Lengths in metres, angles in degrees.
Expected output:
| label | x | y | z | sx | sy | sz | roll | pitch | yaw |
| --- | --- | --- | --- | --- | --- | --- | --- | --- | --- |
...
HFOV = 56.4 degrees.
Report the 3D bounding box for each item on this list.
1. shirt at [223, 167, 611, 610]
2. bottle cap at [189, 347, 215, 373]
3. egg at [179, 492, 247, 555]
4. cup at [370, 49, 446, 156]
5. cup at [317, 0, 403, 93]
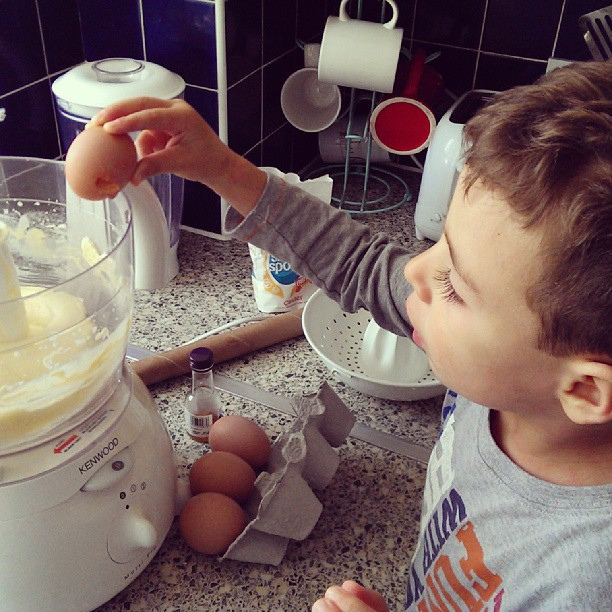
| label | x | y | z | sx | sy | sz | roll | pitch | yaw |
| --- | --- | --- | --- | --- | --- | --- | --- | --- | --- |
| shirt | 0.091 | 0.090 | 0.576 | 0.191 | 0.253 | 0.495 | -15 | 47 | -24 |
| bottle cap | -0.119 | 0.060 | 0.650 | 0.025 | 0.024 | 0.026 | -1 | 25 | -7 |
| egg | -0.097 | 0.218 | 0.571 | 0.056 | 0.054 | 0.070 | 5 | 79 | -11 |
| cup | 0.177 | -0.387 | 1.030 | 0.140 | 0.147 | 0.096 | 2 | 39 | 10 |
| cup | 0.090 | -0.415 | 0.918 | 0.094 | 0.125 | 0.171 | 8 | 36 | 4 |
